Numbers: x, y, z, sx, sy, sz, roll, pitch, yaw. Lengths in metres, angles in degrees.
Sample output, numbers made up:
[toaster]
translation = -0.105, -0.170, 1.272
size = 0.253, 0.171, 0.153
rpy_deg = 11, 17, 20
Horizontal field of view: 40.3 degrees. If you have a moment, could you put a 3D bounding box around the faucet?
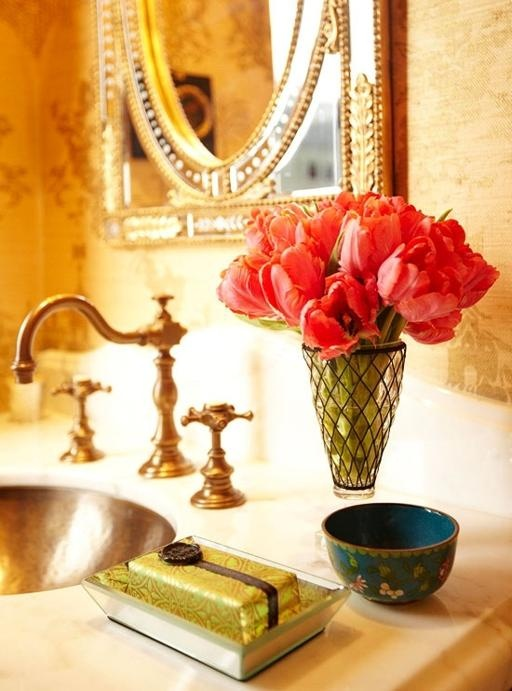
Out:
[faucet]
translation = -0.185, 0.065, 0.926
size = 0.139, 0.268, 0.303
rpy_deg = -2, 7, 9

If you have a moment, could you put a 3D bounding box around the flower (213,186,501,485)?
[flower]
translation = 0.079, 0.004, 0.663
size = 0.263, 0.253, 0.260
rpy_deg = 0, 1, 36

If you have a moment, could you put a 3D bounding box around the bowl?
[bowl]
translation = 0.114, 0.181, 0.600
size = 0.113, 0.053, 0.106
rpy_deg = -3, 10, 0
